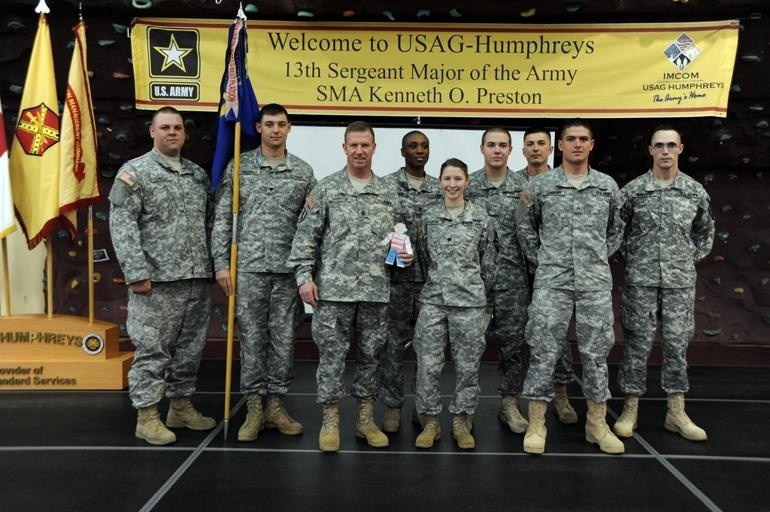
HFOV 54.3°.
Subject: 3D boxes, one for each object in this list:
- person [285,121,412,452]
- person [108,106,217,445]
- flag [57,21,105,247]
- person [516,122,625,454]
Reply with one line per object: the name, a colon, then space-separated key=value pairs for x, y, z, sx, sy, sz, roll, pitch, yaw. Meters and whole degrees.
person: x=-0.328 y=0.217 z=6.002 sx=0.846 sy=2.565 sz=0.426 roll=3 pitch=7 yaw=-1
person: x=-1.791 y=0.134 z=6.123 sx=0.644 sy=2.686 sz=0.630 roll=5 pitch=8 yaw=18
flag: x=-2.864 y=-1.298 z=6.960 sx=0.239 sy=1.761 sz=0.336 roll=5 pitch=8 yaw=15
person: x=1.495 y=0.240 z=6.032 sx=0.890 sy=2.618 sz=0.616 roll=3 pitch=8 yaw=7
